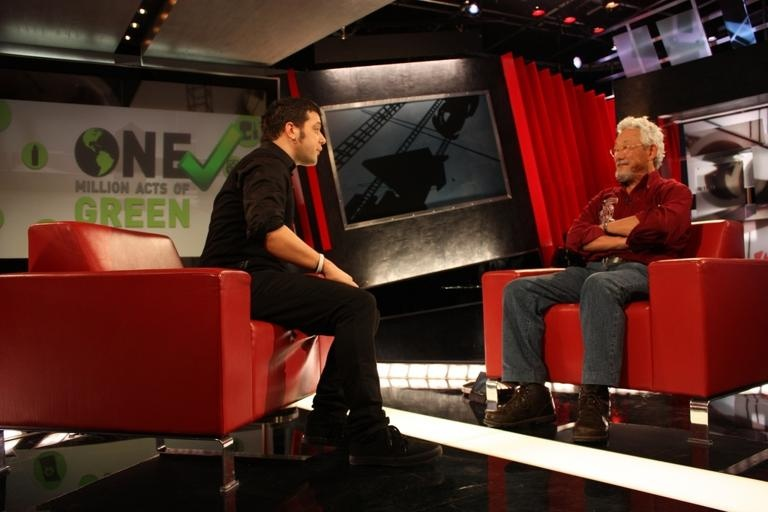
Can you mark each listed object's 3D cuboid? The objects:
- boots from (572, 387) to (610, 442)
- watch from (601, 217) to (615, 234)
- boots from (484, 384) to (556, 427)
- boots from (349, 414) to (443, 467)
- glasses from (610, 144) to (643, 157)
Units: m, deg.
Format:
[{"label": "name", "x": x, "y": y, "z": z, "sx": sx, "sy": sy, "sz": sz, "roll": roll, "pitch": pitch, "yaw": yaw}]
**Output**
[{"label": "boots", "x": 1.068, "y": 0.811, "z": 2.917, "sx": 0.177, "sy": 0.256, "sz": 0.196, "roll": -1, "pitch": 2, "yaw": 18}, {"label": "watch", "x": 1.347, "y": -0.178, "z": 3.403, "sx": 0.046, "sy": 0.096, "sz": 0.119, "roll": 6, "pitch": -14, "yaw": -17}, {"label": "boots", "x": 0.748, "y": 0.842, "z": 3.196, "sx": 0.481, "sy": 0.219, "sz": 0.171, "roll": 0, "pitch": -2, "yaw": -19}, {"label": "boots", "x": 0.034, "y": 0.884, "z": 2.704, "sx": 0.474, "sy": 0.182, "sz": 0.169, "roll": -1, "pitch": 1, "yaw": -5}, {"label": "glasses", "x": 1.521, "y": -0.648, "z": 3.470, "sx": 0.113, "sy": 0.031, "sz": 0.109, "roll": 0, "pitch": -4, "yaw": -34}]
